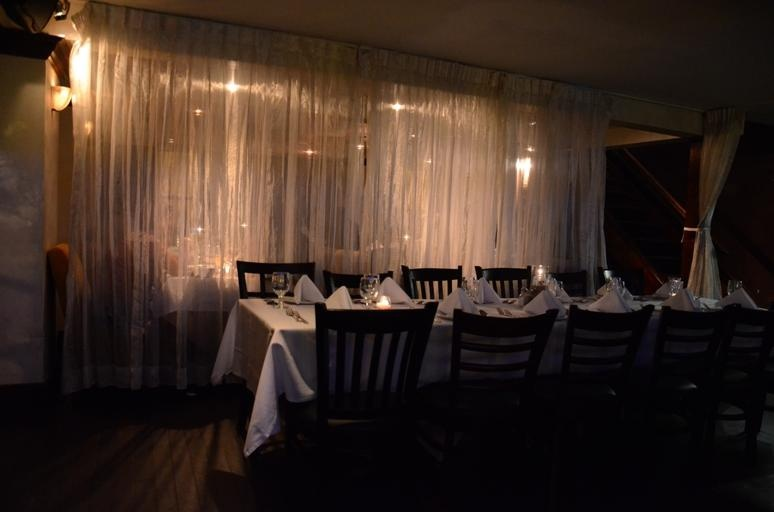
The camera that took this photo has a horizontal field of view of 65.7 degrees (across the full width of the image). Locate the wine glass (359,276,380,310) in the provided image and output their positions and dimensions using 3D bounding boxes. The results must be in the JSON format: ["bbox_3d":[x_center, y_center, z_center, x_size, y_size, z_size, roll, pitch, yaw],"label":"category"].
[{"bbox_3d":[-0.130,0.276,4.672,0.184,0.337,0.212,1,-2,-3],"label":"wine glass"}]

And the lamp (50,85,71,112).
[{"bbox_3d":[-3.091,-1.516,5.744,0.172,0.222,0.211,1,6,-21],"label":"lamp"}]
